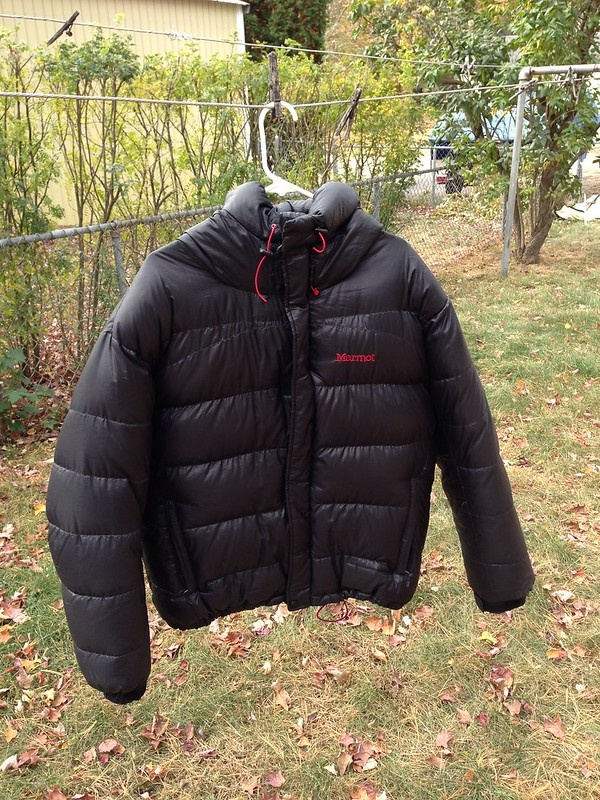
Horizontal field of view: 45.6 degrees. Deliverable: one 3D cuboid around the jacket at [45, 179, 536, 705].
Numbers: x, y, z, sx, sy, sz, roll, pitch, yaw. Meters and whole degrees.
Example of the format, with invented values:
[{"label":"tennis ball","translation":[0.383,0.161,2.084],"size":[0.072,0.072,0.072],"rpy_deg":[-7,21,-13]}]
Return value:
[{"label":"jacket","translation":[-0.039,0.080,1.918],"size":[1.272,1.275,0.389],"rpy_deg":[-7,19,-13]}]
